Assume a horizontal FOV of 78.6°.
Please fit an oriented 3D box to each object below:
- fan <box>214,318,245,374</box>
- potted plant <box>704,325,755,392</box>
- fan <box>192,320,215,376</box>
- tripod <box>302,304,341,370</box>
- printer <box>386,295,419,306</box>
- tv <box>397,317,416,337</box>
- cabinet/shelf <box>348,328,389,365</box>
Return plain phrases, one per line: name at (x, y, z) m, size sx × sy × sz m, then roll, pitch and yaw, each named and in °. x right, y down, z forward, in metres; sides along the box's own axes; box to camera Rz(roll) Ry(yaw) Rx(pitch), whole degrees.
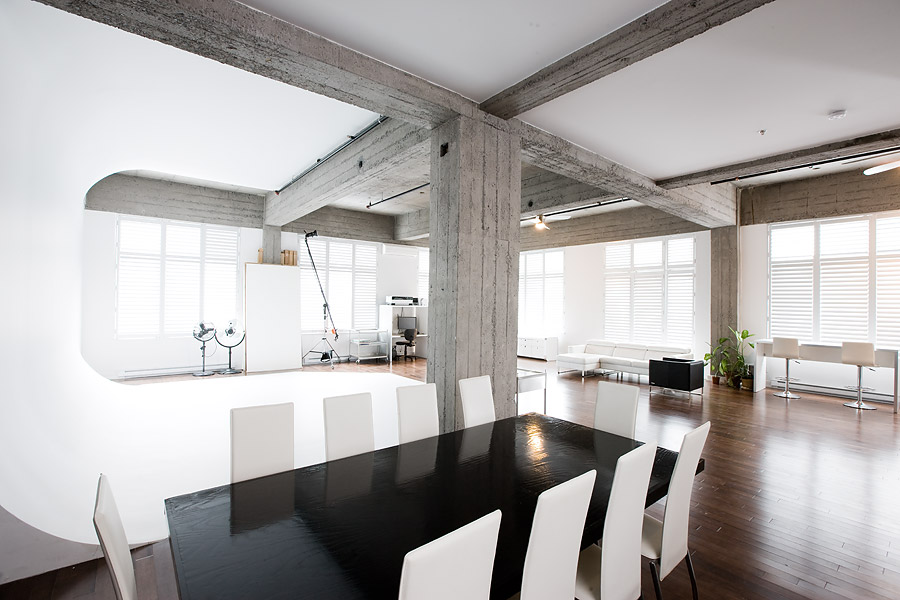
fan at (-4.394, 0.922, 10.896) m, size 0.530 × 1.090 × 0.590 m, roll -2°, pitch 0°, yaw -20°
potted plant at (5.733, 1.136, 10.759) m, size 1.036 × 1.346 × 1.015 m, roll 2°, pitch -2°, yaw -11°
fan at (-4.793, 0.914, 10.673) m, size 0.401 × 1.093 × 0.495 m, roll -2°, pitch 0°, yaw -12°
tripod at (-2.836, 0.753, 12.276) m, size 0.888 × 1.386 × 0.278 m, roll -1°, pitch 0°, yaw -34°
printer at (-1.088, 0.027, 13.050) m, size 0.796 × 0.220 × 0.404 m, roll -1°, pitch -1°, yaw -14°
tv at (-1.047, 0.645, 12.945) m, size 0.440 × 0.431 × 0.237 m, roll 2°, pitch -9°, yaw -21°
cabinet/shelf at (-1.921, 1.060, 13.013) m, size 0.951 × 0.874 × 0.686 m, roll 1°, pitch -1°, yaw -33°
